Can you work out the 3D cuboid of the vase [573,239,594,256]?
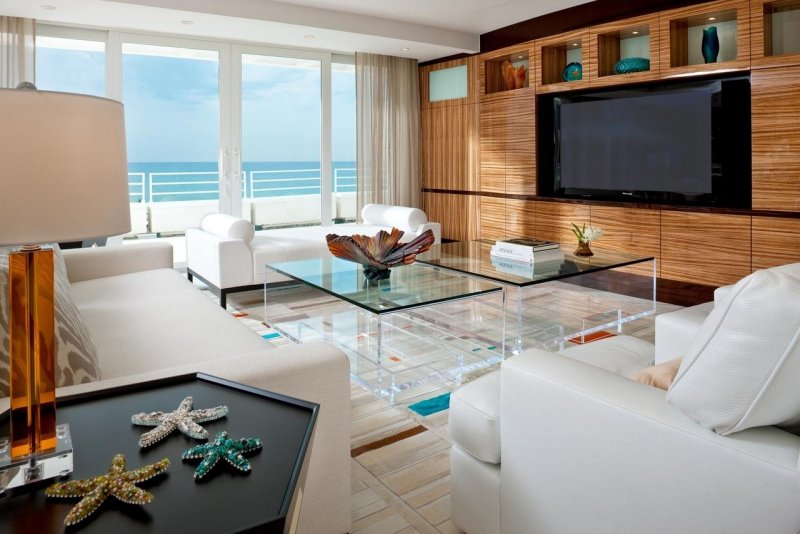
[{"bbox_3d":[1.593,-0.183,4.322,0.175,0.153,0.167,-6,9,-19],"label":"vase"}]

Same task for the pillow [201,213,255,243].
[{"bbox_3d":[-1.725,-0.406,4.979,0.194,0.178,0.438,-20,18,-33],"label":"pillow"}]

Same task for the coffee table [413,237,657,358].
[{"bbox_3d":[1.342,0.256,4.160,1.576,0.588,1.556,-4,-16,30],"label":"coffee table"}]

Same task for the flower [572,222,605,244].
[{"bbox_3d":[1.898,-0.371,5.006,0.319,0.167,0.292,8,0,4],"label":"flower"}]

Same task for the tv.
[{"bbox_3d":[2.496,-1.338,5.129,0.072,0.834,1.552,-9,13,-35],"label":"tv"}]
